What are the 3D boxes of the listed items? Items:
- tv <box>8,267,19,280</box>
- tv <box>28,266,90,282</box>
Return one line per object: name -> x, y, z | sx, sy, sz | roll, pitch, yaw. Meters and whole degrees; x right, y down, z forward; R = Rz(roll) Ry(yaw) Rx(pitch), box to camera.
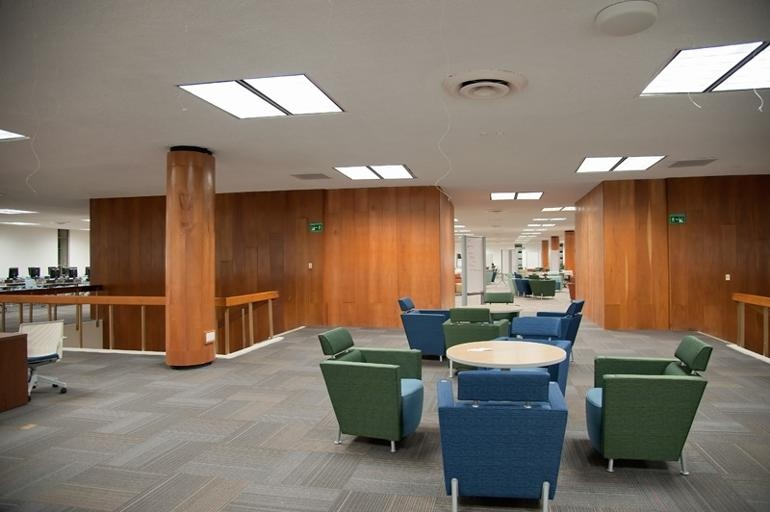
tv -> -16.556, 0.798, 21.595 | 0.463, 0.574, 0.325 | 2, -12, -30
tv -> -15.938, 0.892, 23.591 | 2.123, 0.838, 3.347 | -2, 0, -26
